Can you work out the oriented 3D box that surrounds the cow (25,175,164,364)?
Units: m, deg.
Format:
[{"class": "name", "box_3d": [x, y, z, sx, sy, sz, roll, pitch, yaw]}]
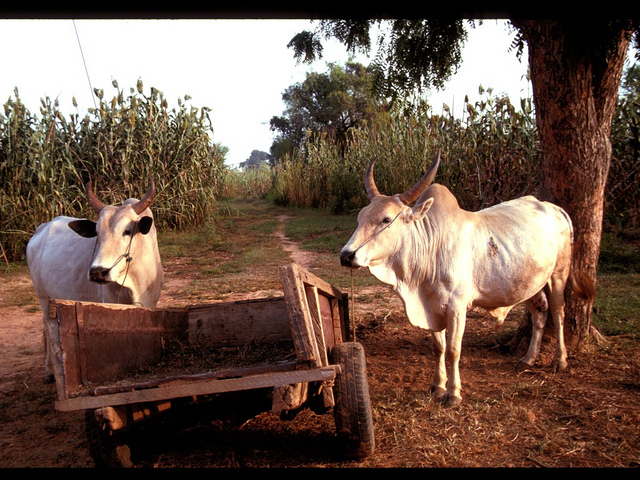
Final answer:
[{"class": "cow", "box_3d": [-2.464, 0.440, 6.448, 1.044, 2.117, 2.606, -9, 10, -42]}]
